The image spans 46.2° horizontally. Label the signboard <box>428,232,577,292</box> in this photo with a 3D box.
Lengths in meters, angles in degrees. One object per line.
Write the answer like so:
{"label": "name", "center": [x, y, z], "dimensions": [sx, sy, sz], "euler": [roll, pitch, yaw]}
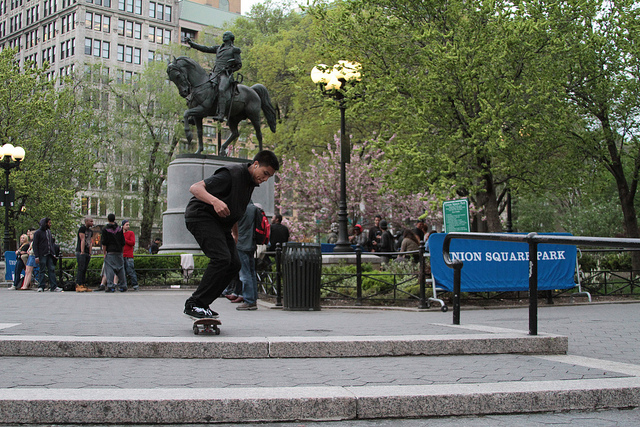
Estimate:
{"label": "signboard", "center": [4.607, 1.268, 18.320], "dimensions": [4.658, 1.467, 0.408], "euler": [2, -7, -27]}

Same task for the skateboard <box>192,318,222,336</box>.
{"label": "skateboard", "center": [-1.832, 1.859, 12.352], "dimensions": [0.460, 0.269, 0.352], "euler": [-2, -5, 18]}

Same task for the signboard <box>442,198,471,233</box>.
{"label": "signboard", "center": [3.533, 0.067, 19.286], "dimensions": [0.121, 1.122, 1.166], "euler": [-1, -3, -32]}

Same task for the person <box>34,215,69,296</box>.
{"label": "person", "center": [-8.449, 1.314, 23.517], "dimensions": [0.949, 2.331, 0.687], "euler": [-2, -2, -7]}

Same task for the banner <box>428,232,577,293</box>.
{"label": "banner", "center": [4.552, 1.270, 18.313], "dimensions": [4.591, 1.523, 0.391], "euler": [1, -1, -23]}

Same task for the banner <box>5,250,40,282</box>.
{"label": "banner", "center": [-10.118, 1.793, 25.580], "dimensions": [1.346, 1.244, 0.142], "euler": [2, 6, 16]}

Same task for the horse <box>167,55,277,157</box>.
{"label": "horse", "center": [-3.262, -3.546, 25.940], "dimensions": [1.223, 3.167, 4.966], "euler": [0, -1, 42]}

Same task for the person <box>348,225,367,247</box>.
{"label": "person", "center": [1.349, 0.815, 26.395], "dimensions": [0.454, 1.183, 0.572], "euler": [11, -19, -34]}

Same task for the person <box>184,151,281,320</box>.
{"label": "person", "center": [-1.549, 0.358, 12.574], "dimensions": [1.263, 2.834, 0.748], "euler": [2, -4, -28]}
